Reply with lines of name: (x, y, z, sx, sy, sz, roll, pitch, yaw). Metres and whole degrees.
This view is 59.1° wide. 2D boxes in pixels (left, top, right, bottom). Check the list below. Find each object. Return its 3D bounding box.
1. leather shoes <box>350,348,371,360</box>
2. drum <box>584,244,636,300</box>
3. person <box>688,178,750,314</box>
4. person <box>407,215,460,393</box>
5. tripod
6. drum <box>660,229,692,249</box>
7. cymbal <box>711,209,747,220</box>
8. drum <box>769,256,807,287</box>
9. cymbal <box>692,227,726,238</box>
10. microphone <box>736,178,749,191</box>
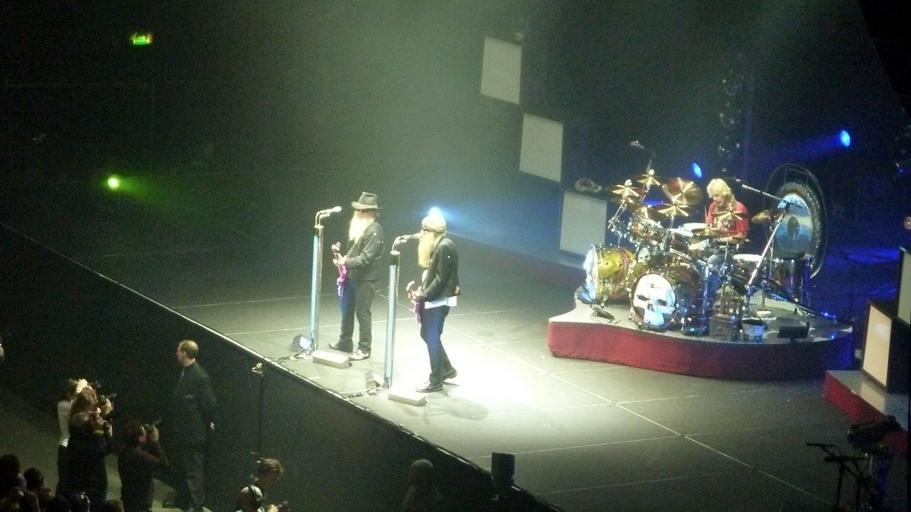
leather shoes: (-1.915, 1.995, 16.361, 0.412, 0.229, 0.203, 1, -1, -7)
drum: (3.412, 0.394, 17.762, 1.047, 1.226, 0.538, 0, -1, 11)
person: (5.467, -0.336, 17.137, 1.182, 3.209, 1.114, 13, -1, -38)
person: (-0.396, 0.848, 15.341, 0.893, 3.493, 0.936, 1, -1, 0)
tripod: (6.166, 0.581, 16.884, 1.610, 3.442, 1.170, 5, 0, 15)
drum: (4.674, -0.366, 17.103, 0.428, 0.195, 0.485, 2, 1, -40)
cymbal: (5.779, -0.889, 17.089, 0.377, 0.085, 0.361, 4, 23, 8)
drum: (7.384, 0.352, 18.077, 0.736, 0.718, 0.696, 3, 3, 13)
cymbal: (5.246, -0.487, 16.661, 0.322, 0.076, 0.322, 13, 18, 31)
microphone: (6.823, -1.718, 19.272, 0.179, 0.226, 0.803, 24, 1, 26)
